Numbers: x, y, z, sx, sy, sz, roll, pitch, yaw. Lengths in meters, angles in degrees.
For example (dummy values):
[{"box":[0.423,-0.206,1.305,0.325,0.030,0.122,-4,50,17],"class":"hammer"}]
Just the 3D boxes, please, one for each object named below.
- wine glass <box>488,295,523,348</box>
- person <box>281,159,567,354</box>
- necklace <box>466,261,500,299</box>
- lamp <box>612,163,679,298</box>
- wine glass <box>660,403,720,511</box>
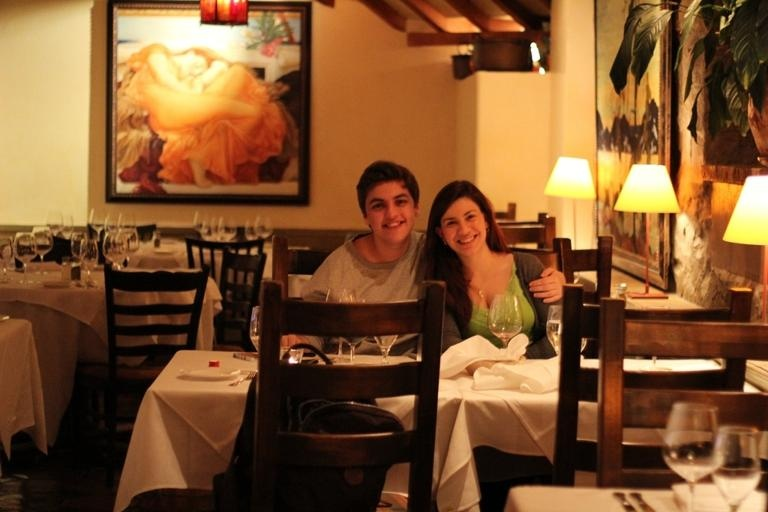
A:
[{"box":[0.484,0.253,2.739,0.118,0.218,0.143,4,8,31],"class":"wine glass"},{"box":[0.265,-0.059,3.798,1.206,1.046,0.675,-22,8,-18],"class":"person"},{"box":[0.427,0.100,2.988,0.135,0.143,0.040,-5,-4,-1],"class":"necklace"},{"box":[1.586,-0.141,4.156,0.330,0.806,0.653,3,8,29],"class":"lamp"},{"box":[0.721,0.463,1.653,0.115,0.222,0.083,3,8,26],"class":"wine glass"}]
